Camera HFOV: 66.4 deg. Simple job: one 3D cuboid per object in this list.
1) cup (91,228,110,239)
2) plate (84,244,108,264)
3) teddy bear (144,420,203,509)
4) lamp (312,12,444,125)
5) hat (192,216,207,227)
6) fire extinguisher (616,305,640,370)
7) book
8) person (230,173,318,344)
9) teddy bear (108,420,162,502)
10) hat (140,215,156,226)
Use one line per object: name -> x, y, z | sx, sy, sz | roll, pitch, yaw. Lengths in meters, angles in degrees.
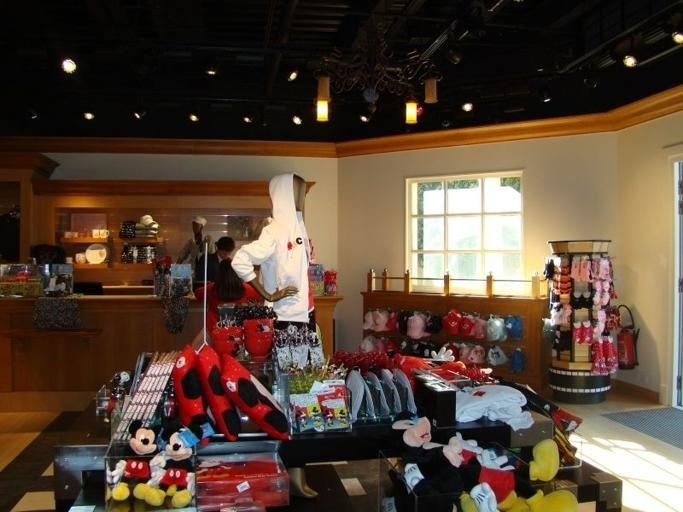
cup -> -3.604, -0.319, 7.849 | 0.137, 0.158, 0.223 | -3, -6, 42
plate -> -3.690, -0.028, 7.888 | 0.279, 0.300, 0.176 | -11, 10, -12
teddy bear -> -0.870, 1.096, 2.700 | 0.238, 0.361, 0.152 | 0, 5, 3
lamp -> 0.310, -1.946, 5.143 | 1.068, 1.227, 1.298 | 2, 7, 0
hat -> -2.099, -0.504, 7.746 | 0.147, 0.103, 0.189 | 7, -3, -29
fire extinguisher -> 3.510, 1.006, 6.509 | 0.240, 0.759, 0.303 | -1, 5, -13
book -> -1.048, 0.802, 2.959 | 0.113, 0.437, 0.292 | 33, -39, -28
person -> -0.499, 0.005, 4.019 | 0.670, 1.274, 0.478 | -2, 5, -16
teddy bear -> -1.048, 1.060, 2.697 | 0.256, 0.367, 0.192 | 14, -1, -31
hat -> -2.915, -0.532, 7.882 | 0.225, 0.158, 0.199 | -2, 5, -18
